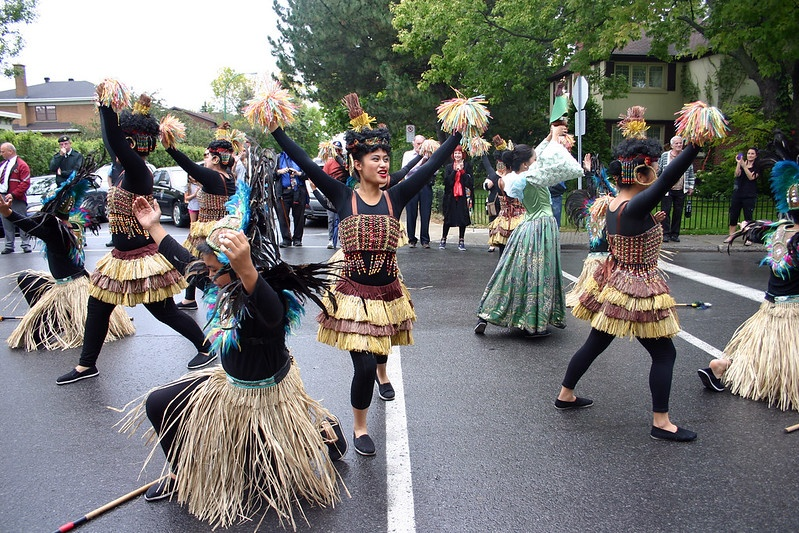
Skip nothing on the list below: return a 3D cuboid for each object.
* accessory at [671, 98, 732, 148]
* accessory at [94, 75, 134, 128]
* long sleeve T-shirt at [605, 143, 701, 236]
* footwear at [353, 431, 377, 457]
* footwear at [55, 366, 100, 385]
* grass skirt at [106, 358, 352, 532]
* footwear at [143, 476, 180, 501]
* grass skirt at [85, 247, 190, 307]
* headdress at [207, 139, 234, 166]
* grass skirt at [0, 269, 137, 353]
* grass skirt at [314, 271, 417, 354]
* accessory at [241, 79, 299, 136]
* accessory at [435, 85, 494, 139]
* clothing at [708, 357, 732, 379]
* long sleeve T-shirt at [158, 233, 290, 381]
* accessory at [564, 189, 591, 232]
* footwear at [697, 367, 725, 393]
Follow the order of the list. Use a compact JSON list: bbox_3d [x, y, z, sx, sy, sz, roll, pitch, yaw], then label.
[{"bbox_3d":[2.262,-1.064,4.274,0.432,0.258,0.445,4,-33,11],"label":"accessory"},{"bbox_3d":[-2.455,-1.466,4.910,0.309,0.306,0.303,-4,6,-23],"label":"accessory"},{"bbox_3d":[1.941,-0.584,4.382,0.312,0.706,0.653,-5,12,-22],"label":"long sleeve T-shirt"},{"bbox_3d":[-0.270,1.342,4.284,0.179,0.122,0.146,0,11,2],"label":"footwear"},{"bbox_3d":[-3.080,1.030,5.432,0.365,0.131,0.133,-4,3,-40],"label":"footwear"},{"bbox_3d":[-1.013,1.107,3.807,1.118,0.831,1.182,-8,18,-34],"label":"grass skirt"},{"bbox_3d":[-1.575,1.476,3.809,0.118,0.099,0.260,6,2,31],"label":"footwear"},{"bbox_3d":[-2.548,0.099,5.551,0.976,0.540,0.716,0,7,8],"label":"grass skirt"},{"bbox_3d":[-2.172,-1.401,6.973,0.264,0.296,0.304,-1,14,-6],"label":"headdress"},{"bbox_3d":[-3.864,0.349,6.546,1.038,0.732,1.062,-3,6,-28],"label":"grass skirt"},{"bbox_3d":[-0.274,0.384,4.412,0.838,0.536,0.585,3,-2,-36],"label":"grass skirt"},{"bbox_3d":[-0.969,-1.219,4.249,0.394,0.379,0.298,0,14,-22],"label":"accessory"},{"bbox_3d":[0.550,-1.254,4.647,0.421,0.289,0.428,24,37,24],"label":"accessory"},{"bbox_3d":[2.942,0.933,5.184,0.118,0.138,0.092,39,14,3],"label":"clothing"},{"bbox_3d":[-1.281,0.319,4.047,1.185,0.813,0.386,35,40,23],"label":"long sleeve T-shirt"},{"bbox_3d":[2.235,-0.693,6.977,0.220,0.453,0.360,-10,14,-34],"label":"accessory"},{"bbox_3d":[2.832,1.033,5.166,0.132,0.294,0.134,-40,34,3],"label":"footwear"}]
